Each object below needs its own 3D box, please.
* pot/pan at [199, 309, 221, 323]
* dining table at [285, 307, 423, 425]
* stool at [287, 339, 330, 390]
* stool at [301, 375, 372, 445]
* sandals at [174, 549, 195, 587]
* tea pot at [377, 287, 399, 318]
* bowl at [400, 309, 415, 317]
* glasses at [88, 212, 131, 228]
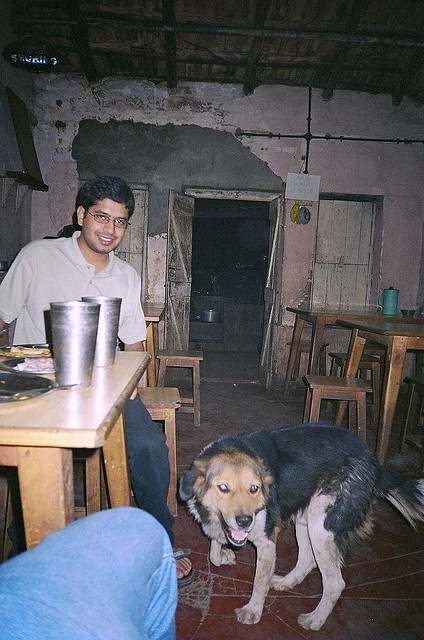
[{"bbox_3d":[-0.018,-0.065,9.963,0.429,0.271,0.345,2,4,-9],"label":"pot/pan"},{"bbox_3d":[1.449,0.292,5.383,1.253,1.110,0.950,0,15,-8],"label":"dining table"},{"bbox_3d":[1.098,0.525,5.948,0.525,0.780,0.546,6,8,18],"label":"stool"},{"bbox_3d":[0.866,0.565,3.573,0.453,0.482,0.480,2,8,0],"label":"stool"},{"bbox_3d":[-0.124,1.050,2.141,0.072,0.062,0.225,-2,1,2],"label":"sandals"},{"bbox_3d":[1.824,-0.189,5.079,0.148,0.291,0.612,4,4,22],"label":"tea pot"},{"bbox_3d":[1.967,-0.065,4.982,0.114,0.082,0.118,-1,1,0],"label":"bowl"},{"bbox_3d":[-0.465,-0.446,2.226,0.186,0.069,0.101,1,5,-24],"label":"glasses"}]
